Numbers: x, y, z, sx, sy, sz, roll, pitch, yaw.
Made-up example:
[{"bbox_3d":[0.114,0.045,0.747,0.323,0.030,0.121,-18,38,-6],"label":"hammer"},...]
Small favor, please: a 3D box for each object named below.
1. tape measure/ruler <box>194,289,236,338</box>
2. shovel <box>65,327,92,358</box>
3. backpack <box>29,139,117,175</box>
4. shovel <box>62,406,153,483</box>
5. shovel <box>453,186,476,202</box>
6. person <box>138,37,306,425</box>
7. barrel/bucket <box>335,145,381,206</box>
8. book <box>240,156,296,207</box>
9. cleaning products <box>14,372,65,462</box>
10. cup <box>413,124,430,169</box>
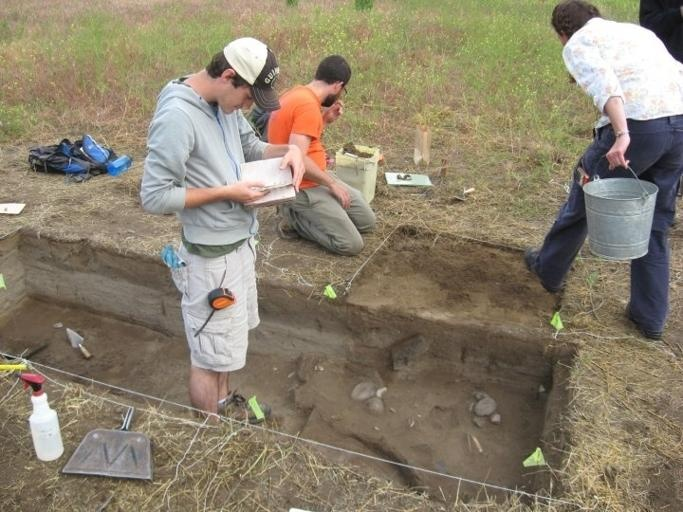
[{"bbox_3d":[-0.877,0.387,4.554,0.133,0.366,0.074,9,47,-33],"label":"tape measure/ruler"},{"bbox_3d":[-2.397,0.798,6.063,0.155,0.051,0.358,-33,66,-29],"label":"shovel"},{"bbox_3d":[-2.973,-1.085,7.349,0.817,0.309,0.726,9,32,-16],"label":"backpack"},{"bbox_3d":[-1.544,1.231,4.609,0.536,0.074,0.812,5,32,-11],"label":"shovel"},{"bbox_3d":[1.297,-0.646,7.016,0.187,0.060,0.191,-25,12,29],"label":"shovel"},{"bbox_3d":[-0.821,-0.032,4.683,0.620,2.803,1.050,23,37,36],"label":"person"},{"bbox_3d":[0.152,-0.877,6.726,0.404,0.605,0.345,-13,32,-32],"label":"barrel/bucket"},{"bbox_3d":[-0.500,-0.507,4.500,0.392,0.185,0.507,-6,26,-13],"label":"book"},{"bbox_3d":[-2.037,1.116,4.477,0.297,0.742,0.234,5,32,-2],"label":"cleaning products"},{"bbox_3d":[0.927,-1.241,7.643,0.179,0.494,0.355,-1,40,3],"label":"cup"}]
